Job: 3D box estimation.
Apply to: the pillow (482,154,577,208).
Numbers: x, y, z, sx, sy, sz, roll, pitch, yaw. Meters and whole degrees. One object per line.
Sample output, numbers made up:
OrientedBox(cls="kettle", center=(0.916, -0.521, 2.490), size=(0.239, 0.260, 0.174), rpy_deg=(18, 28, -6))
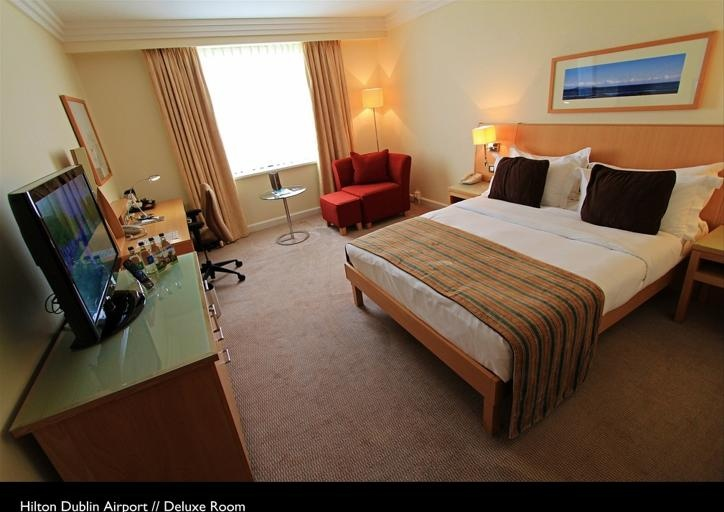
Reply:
OrientedBox(cls="pillow", center=(1.673, -0.706, 4.239), size=(0.178, 0.559, 0.596), rpy_deg=(4, 11, -43))

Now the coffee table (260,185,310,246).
OrientedBox(cls="coffee table", center=(-1.078, -0.549, 6.132), size=(0.567, 0.613, 0.583), rpy_deg=(-22, 34, -19))

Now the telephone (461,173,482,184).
OrientedBox(cls="telephone", center=(1.315, -0.929, 5.337), size=(0.181, 0.070, 0.131), rpy_deg=(-25, 31, -30))

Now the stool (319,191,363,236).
OrientedBox(cls="stool", center=(-0.213, -0.545, 6.011), size=(0.558, 0.489, 0.584), rpy_deg=(-21, 38, -30))

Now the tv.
OrientedBox(cls="tv", center=(-1.799, 0.021, 2.698), size=(0.215, 0.741, 1.039), rpy_deg=(-14, 33, -13))

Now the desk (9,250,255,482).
OrientedBox(cls="desk", center=(-1.350, 0.819, 3.093), size=(0.965, 1.368, 1.637), rpy_deg=(-12, 34, -10))

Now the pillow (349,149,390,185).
OrientedBox(cls="pillow", center=(0.110, -1.194, 6.119), size=(0.576, 0.493, 0.209), rpy_deg=(-5, 10, 0))

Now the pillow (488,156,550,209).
OrientedBox(cls="pillow", center=(1.521, -0.716, 4.302), size=(0.169, 0.482, 0.545), rpy_deg=(12, 6, -40))

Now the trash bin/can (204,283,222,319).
OrientedBox(cls="trash bin/can", center=(-1.229, 0.380, 3.703), size=(0.083, 0.094, 0.404), rpy_deg=(-12, 40, -19))

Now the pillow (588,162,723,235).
OrientedBox(cls="pillow", center=(2.346, -0.433, 3.538), size=(0.581, 0.606, 0.182), rpy_deg=(10, 5, 34))

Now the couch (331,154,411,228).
OrientedBox(cls="couch", center=(-0.018, -0.840, 6.155), size=(1.203, 0.875, 0.918), rpy_deg=(-24, 30, -34))

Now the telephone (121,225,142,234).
OrientedBox(cls="telephone", center=(-2.106, -0.250, 4.112), size=(0.123, 0.051, 0.090), rpy_deg=(14, 18, 43))
